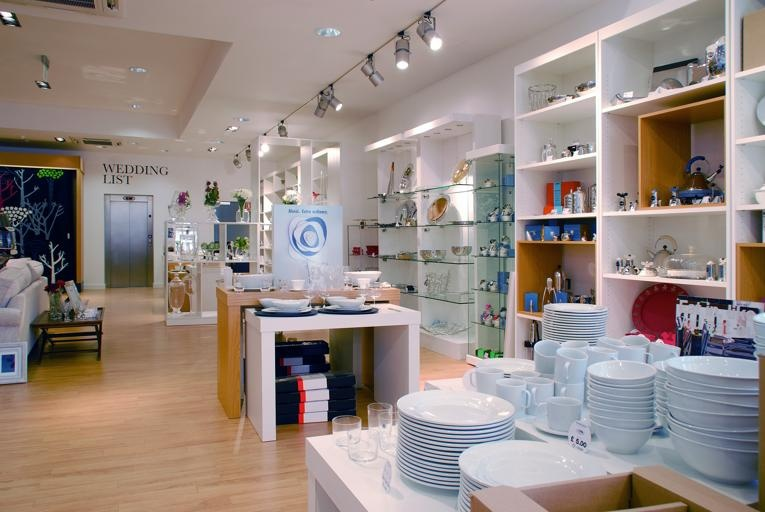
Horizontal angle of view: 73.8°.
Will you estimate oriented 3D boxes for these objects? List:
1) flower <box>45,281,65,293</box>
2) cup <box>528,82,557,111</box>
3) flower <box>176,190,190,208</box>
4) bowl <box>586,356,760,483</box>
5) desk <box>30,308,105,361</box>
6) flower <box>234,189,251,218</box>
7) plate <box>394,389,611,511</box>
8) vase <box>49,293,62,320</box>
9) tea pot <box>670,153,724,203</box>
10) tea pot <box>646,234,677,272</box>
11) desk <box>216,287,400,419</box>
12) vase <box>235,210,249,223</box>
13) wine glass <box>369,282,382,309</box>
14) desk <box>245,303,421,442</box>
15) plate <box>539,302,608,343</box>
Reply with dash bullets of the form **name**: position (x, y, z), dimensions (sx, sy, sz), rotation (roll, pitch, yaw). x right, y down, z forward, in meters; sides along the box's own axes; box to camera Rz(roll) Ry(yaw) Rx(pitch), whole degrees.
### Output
- **flower**: position (-4.397, 0.411, 6.775), dimensions (0.222, 0.222, 0.222), rotation (0, 3, -25)
- **cup**: position (1.558, -1.560, 4.982), dimensions (0.282, 0.274, 0.241), rotation (-9, 16, -22)
- **flower**: position (-3.521, -0.977, 8.928), dimensions (0.205, 0.263, 0.405), rotation (-2, 5, -17)
- **bowl**: position (0.972, 0.516, 1.688), dimensions (0.366, 0.303, 0.351), rotation (-1, 4, 0)
- **desk**: position (-4.068, 0.987, 6.519), dimensions (0.657, 0.370, 0.997), rotation (2, 0, -24)
- **flower**: position (-2.684, -0.980, 9.768), dimensions (0.284, 0.594, 1.012), rotation (-2, 5, -14)
- **plate**: position (0.330, 0.636, 1.725), dimensions (0.482, 0.140, 0.337), rotation (-2, 6, -30)
- **vase**: position (-4.002, 0.605, 6.189), dimensions (0.120, 0.310, 0.224), rotation (-3, 5, -27)
- **tea pot**: position (2.433, -0.584, 3.996), dimensions (0.427, 0.431, 0.359), rotation (1, 0, 8)
- **tea pot**: position (2.370, -0.018, 4.300), dimensions (0.137, 0.315, 0.241), rotation (-7, 10, -42)
- **desk**: position (-0.721, 0.806, 4.980), dimensions (1.672, 1.083, 0.876), rotation (-1, 4, -23)
- **vase**: position (-2.632, -0.721, 9.519), dimensions (0.295, 0.286, 0.295), rotation (-2, 4, -36)
- **wine glass**: position (-0.096, 0.356, 4.630), dimensions (0.158, 0.253, 0.159), rotation (-1, -2, 42)
- **desk**: position (-0.484, 0.897, 4.356), dimensions (1.434, 1.015, 0.788), rotation (1, 2, -26)
- **plate**: position (0.962, 0.328, 2.530), dimensions (0.228, 0.135, 0.230), rotation (0, -2, -1)
